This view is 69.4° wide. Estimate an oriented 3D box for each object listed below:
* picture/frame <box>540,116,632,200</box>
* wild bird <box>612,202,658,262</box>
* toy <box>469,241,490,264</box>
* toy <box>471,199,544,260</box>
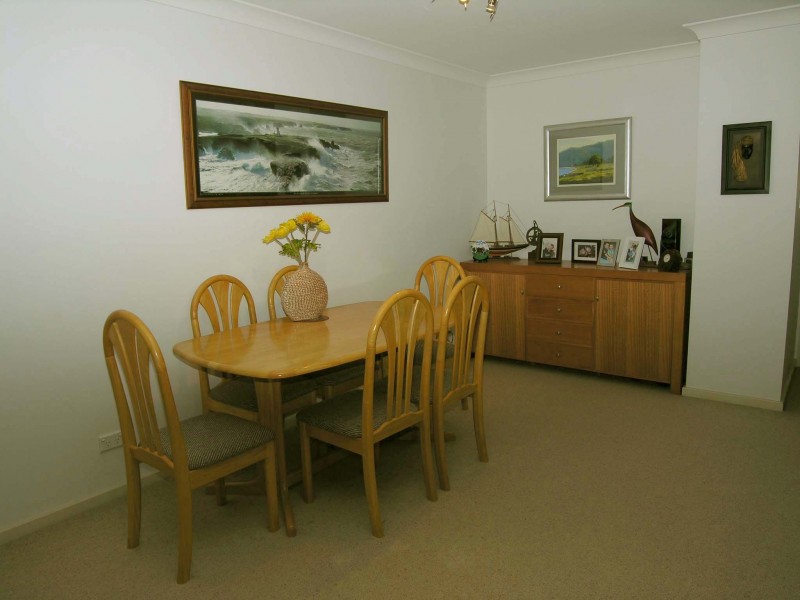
[{"bbox_3d":[1.766,-1.342,5.403,0.746,0.784,0.054,3,4,35],"label":"picture/frame"},{"bbox_3d":[2.105,-0.608,5.064,0.357,0.473,0.585,0,14,8],"label":"wild bird"},{"bbox_3d":[0.759,-0.462,5.545,0.199,0.166,0.305,8,47,0],"label":"toy"},{"bbox_3d":[0.977,-0.661,5.456,0.609,0.561,0.212,1,30,8],"label":"toy"}]
